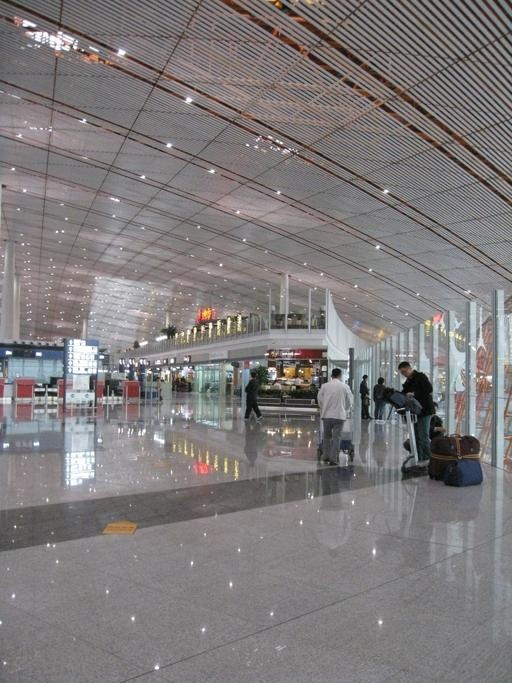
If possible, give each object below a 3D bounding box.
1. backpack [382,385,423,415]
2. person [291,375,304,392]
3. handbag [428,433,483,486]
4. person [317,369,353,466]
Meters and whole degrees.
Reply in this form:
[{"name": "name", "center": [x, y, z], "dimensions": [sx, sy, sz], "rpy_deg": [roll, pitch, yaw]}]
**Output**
[{"name": "backpack", "center": [2.239, 0.832, 8.419], "dimensions": [0.603, 0.267, 0.359], "rpy_deg": [32, 1, 44]}, {"name": "person", "center": [2.570, 2.457, 33.594], "dimensions": [0.668, 0.774, 1.111], "rpy_deg": [-2, -6, 17]}, {"name": "handbag", "center": [2.825, 1.662, 7.604], "dimensions": [0.580, 0.793, 0.770], "rpy_deg": [-7, -9, 43]}, {"name": "person", "center": [1.372, 1.287, 9.419], "dimensions": [0.552, 1.687, 0.880], "rpy_deg": [-1, -5, 7]}]
